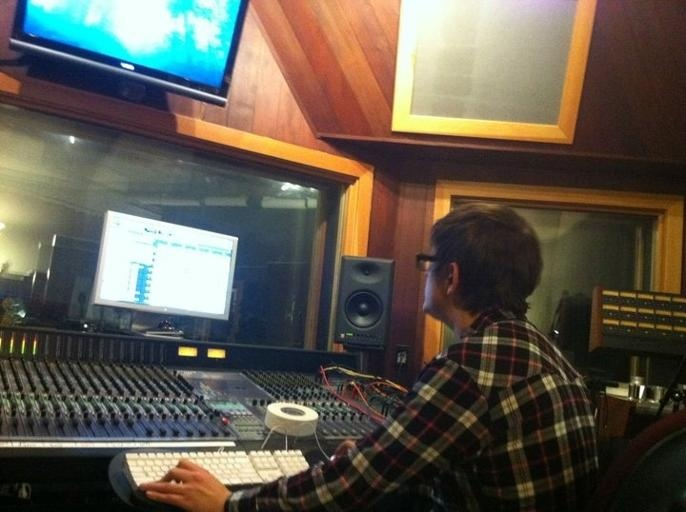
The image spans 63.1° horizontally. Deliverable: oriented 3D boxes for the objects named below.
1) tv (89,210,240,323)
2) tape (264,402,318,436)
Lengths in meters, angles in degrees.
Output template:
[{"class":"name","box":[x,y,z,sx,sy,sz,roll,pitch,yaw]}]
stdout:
[{"class":"tv","box":[-0.793,0.027,2.516,0.643,0.464,0.279,5,0,-40]},{"class":"tape","box":[-0.167,0.533,1.811,0.176,0.088,0.204,2,2,-19]}]
